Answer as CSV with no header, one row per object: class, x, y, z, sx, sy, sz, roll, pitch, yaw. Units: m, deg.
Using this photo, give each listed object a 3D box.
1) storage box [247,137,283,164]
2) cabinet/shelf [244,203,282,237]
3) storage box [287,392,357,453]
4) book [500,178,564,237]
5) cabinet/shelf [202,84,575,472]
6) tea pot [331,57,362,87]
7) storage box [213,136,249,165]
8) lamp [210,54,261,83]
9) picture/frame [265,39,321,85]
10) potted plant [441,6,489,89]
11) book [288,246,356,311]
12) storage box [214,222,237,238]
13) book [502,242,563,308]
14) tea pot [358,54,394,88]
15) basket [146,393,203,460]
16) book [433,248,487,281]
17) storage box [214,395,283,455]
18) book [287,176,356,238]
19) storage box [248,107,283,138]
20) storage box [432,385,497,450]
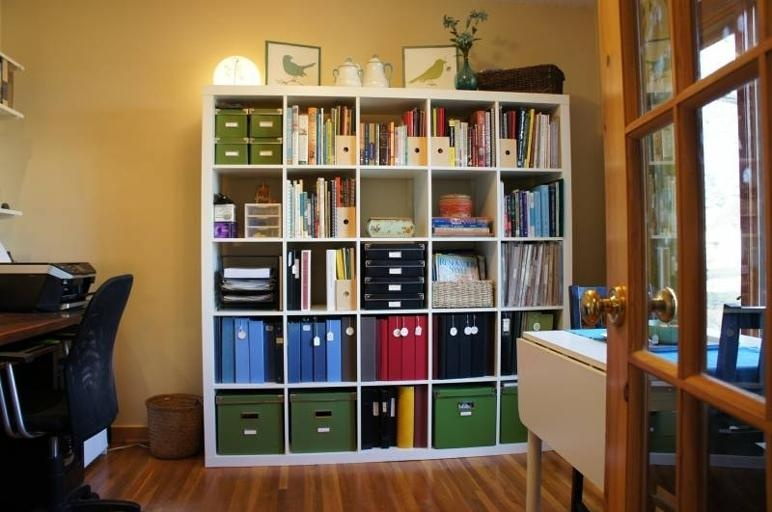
storage box,-0.699,-0.609,3.928,0.156,0.100,0.159,0,2,-2
cabinet/shelf,-0.719,-0.200,4.054,0.220,0.213,0.123,0,-1,3
storage box,-0.449,1.046,4.163,0.582,0.327,0.590,-7,-18,15
book,0.890,-0.241,4.211,0.425,0.433,0.320,0,-2,-4
cabinet/shelf,0.005,0.166,3.966,2.176,2.105,0.668,-1,1,-4
tea pot,-0.218,-1.095,4.137,0.205,0.202,0.160,0,2,-30
storage box,-0.898,-0.606,3.915,0.152,0.098,0.155,0,3,1
lamp,-0.897,-1.095,4.058,0.200,0.158,0.204,0,7,1
picture/frame,-0.581,-1.193,4.212,0.316,0.244,0.021,-1,1,-16
potted plant,0.489,-1.259,4.162,0.261,0.479,0.199,-1,4,21
book,-0.364,0.134,4.131,0.471,0.472,0.346,0,0,2
storage box,-0.939,-0.152,3.960,0.091,0.072,0.094,0,-2,-5
book,0.880,0.123,4.129,0.384,0.377,0.212,0,1,-1
tea pot,-0.040,-1.109,4.126,0.177,0.212,0.149,0,9,-2
basket,-1.248,1.029,4.156,0.308,0.287,0.338,-7,2,6
book,0.444,0.125,4.160,0.297,0.214,0.173,3,-11,-15
storage box,-0.793,0.988,3.958,0.353,0.271,0.357,0,-4,-3
book,-0.381,-0.284,4.002,0.408,0.337,0.115,-1,12,-3
storage box,-0.703,-0.770,3.981,0.171,0.131,0.175,0,1,-2
storage box,0.467,0.963,4.114,0.360,0.330,0.364,0,-5,-6
